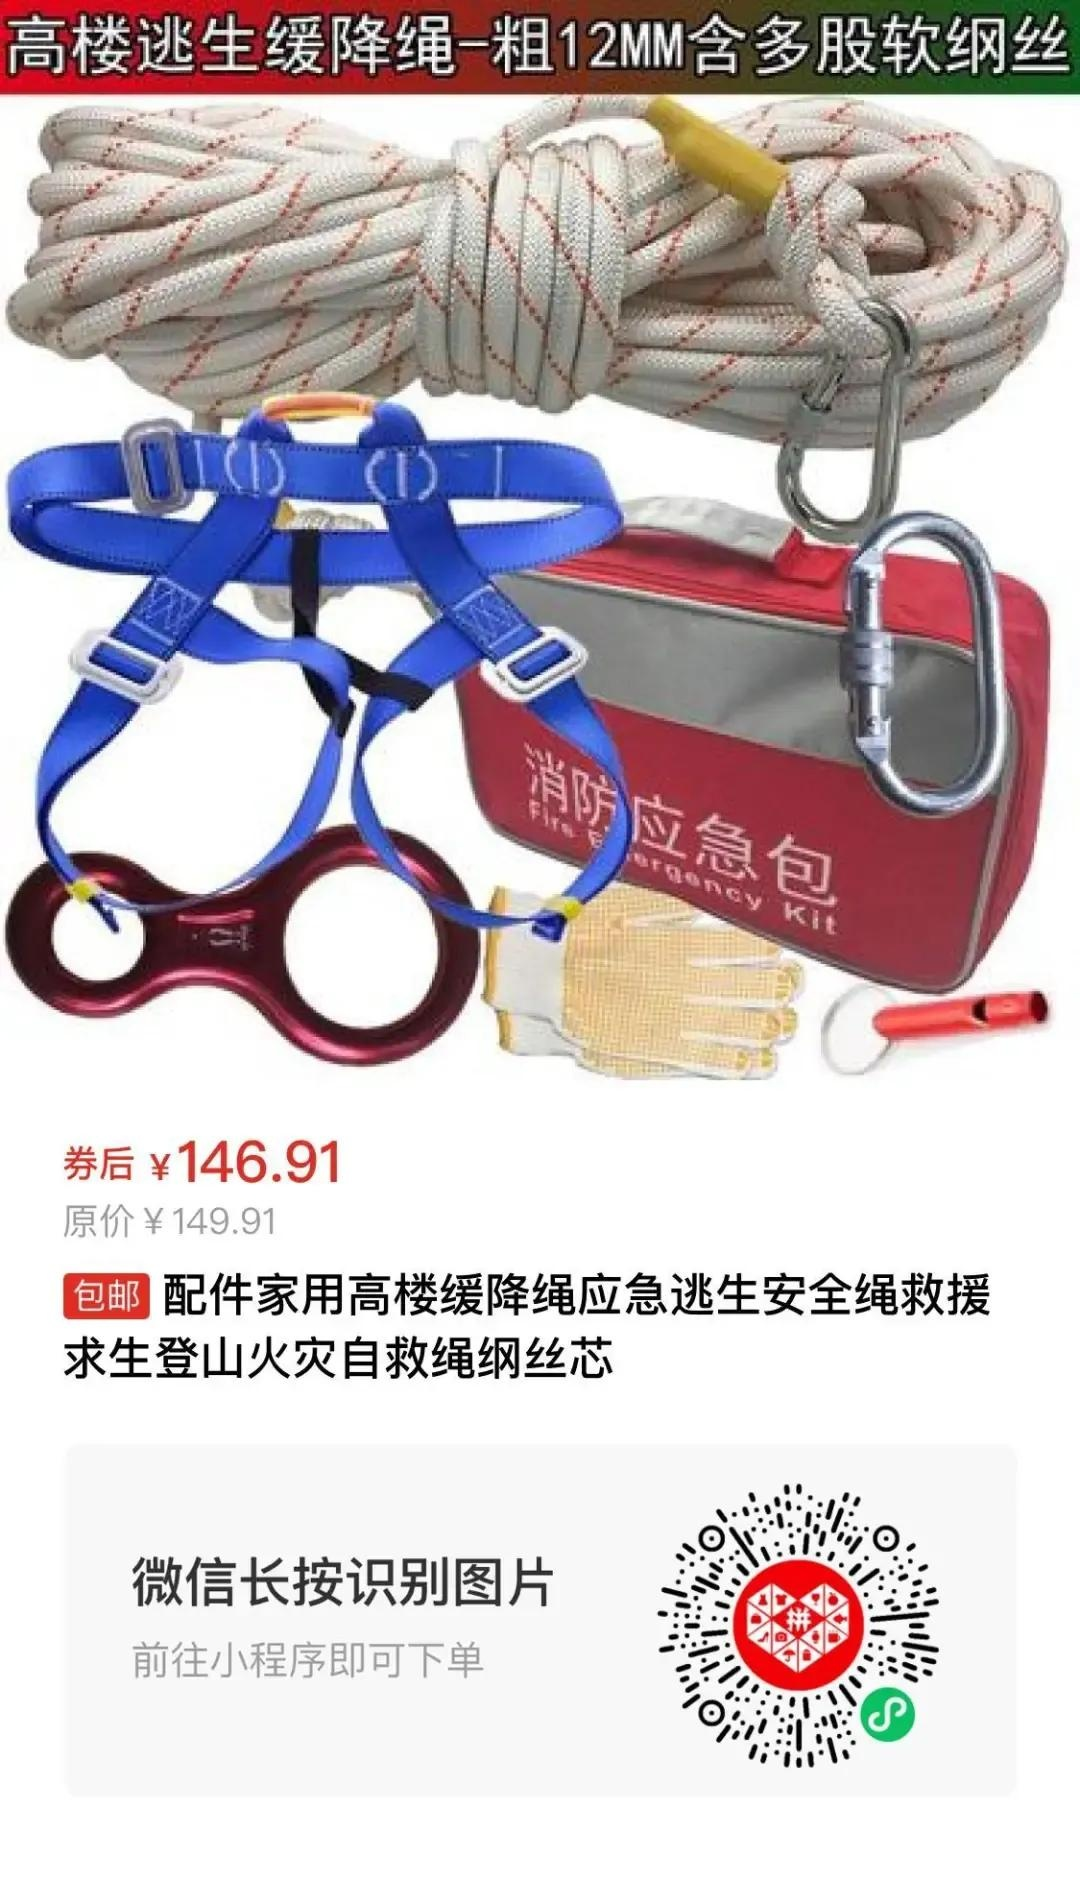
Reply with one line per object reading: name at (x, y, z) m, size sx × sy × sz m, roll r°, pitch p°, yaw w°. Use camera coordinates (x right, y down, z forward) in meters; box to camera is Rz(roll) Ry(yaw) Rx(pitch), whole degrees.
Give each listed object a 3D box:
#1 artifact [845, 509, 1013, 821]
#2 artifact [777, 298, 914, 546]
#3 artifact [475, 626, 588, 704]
artifact at (0.216, -0.154, 0.950) m, size 0.090 × 0.164 × 0.065 m, roll -1°, pitch 10°, yaw -2°
artifact at (0.173, -0.293, 0.959) m, size 0.067 × 0.155 × 0.017 m, roll 5°, pitch -5°, yaw 8°
artifact at (-0.005, -0.159, 0.985) m, size 0.055 × 0.019 × 0.040 m, roll -32°, pitch 43°, yaw -10°
